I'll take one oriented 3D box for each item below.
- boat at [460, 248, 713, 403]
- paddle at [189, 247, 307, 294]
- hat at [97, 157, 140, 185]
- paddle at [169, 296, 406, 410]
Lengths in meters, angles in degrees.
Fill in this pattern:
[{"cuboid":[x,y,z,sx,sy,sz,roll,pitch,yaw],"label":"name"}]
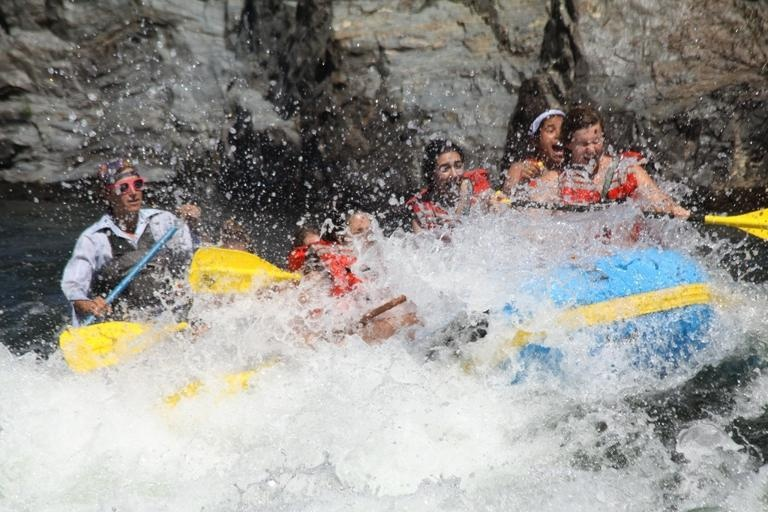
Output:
[{"cuboid":[1.977,0.648,8.138,1.905,0.676,0.882,-16,62,1],"label":"boat"},{"cuboid":[-1.382,0.030,8.625,1.050,0.136,0.402,-5,22,2],"label":"paddle"},{"cuboid":[-2.613,-0.842,8.759,0.353,0.183,0.199,-2,44,-19],"label":"hat"},{"cuboid":[-0.842,0.922,8.150,1.910,0.152,0.318,-24,66,-16],"label":"paddle"}]
